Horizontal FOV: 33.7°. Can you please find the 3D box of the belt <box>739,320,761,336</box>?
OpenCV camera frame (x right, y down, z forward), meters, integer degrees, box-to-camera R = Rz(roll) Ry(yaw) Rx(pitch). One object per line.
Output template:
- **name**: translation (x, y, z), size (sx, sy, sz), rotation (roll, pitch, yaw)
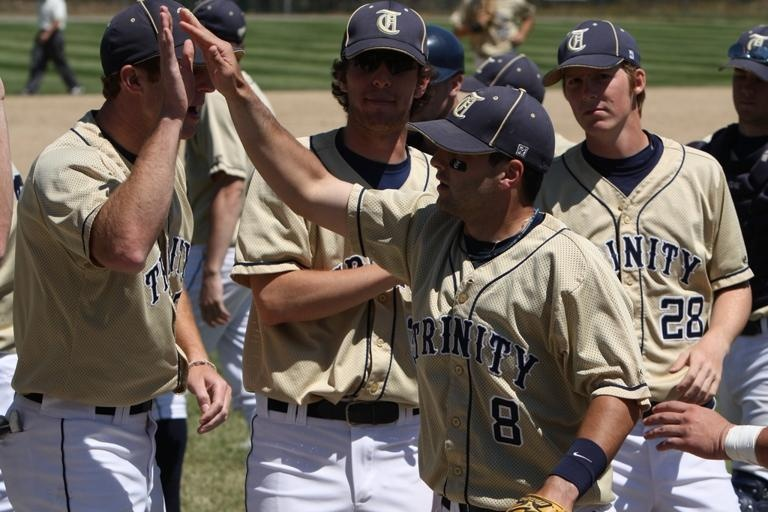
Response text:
- **belt**: translation (2.365, 0.474, 8.100), size (0.115, 0.123, 0.032), rotation (4, 27, 21)
